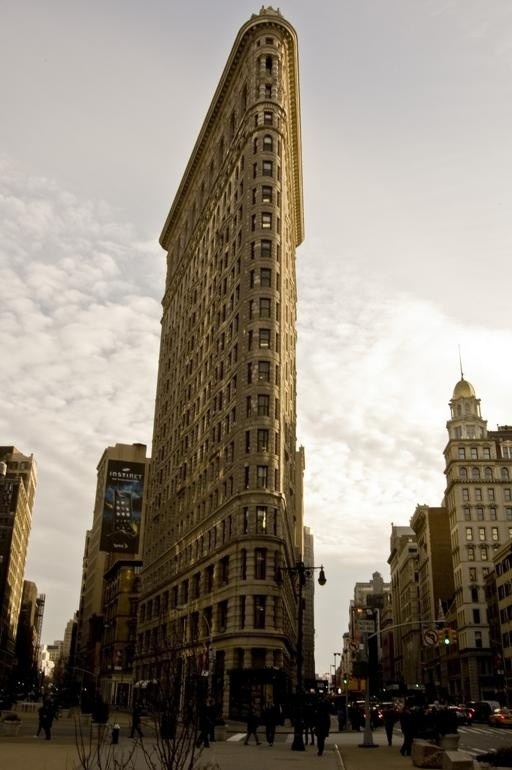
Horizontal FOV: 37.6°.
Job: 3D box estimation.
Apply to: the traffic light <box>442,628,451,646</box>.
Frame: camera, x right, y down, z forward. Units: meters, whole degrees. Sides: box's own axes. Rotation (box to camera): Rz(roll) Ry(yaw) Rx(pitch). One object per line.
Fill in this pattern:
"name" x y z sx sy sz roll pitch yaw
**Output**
"traffic light" 9.980 13.148 39.224 0.391 0.760 0.676 -3 -23 13
